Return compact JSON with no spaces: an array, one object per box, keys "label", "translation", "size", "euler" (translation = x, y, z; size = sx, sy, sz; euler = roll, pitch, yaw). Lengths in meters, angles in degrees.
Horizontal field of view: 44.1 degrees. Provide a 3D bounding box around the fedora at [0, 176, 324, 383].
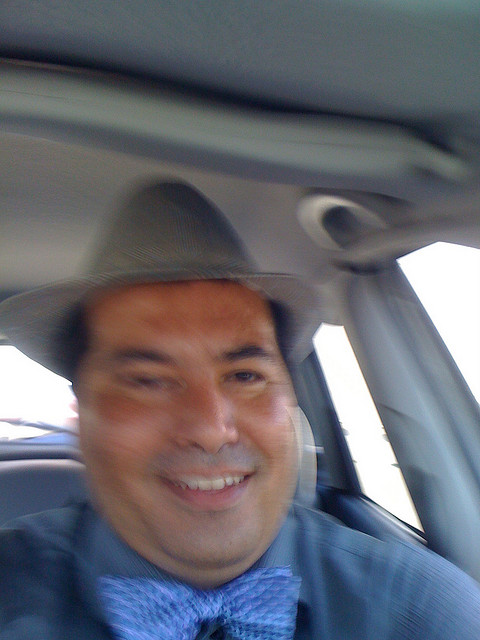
[{"label":"fedora","translation":[-0.090,-0.008,0.730],"size":[0.293,0.102,0.296],"euler":[-3,-19,6]}]
